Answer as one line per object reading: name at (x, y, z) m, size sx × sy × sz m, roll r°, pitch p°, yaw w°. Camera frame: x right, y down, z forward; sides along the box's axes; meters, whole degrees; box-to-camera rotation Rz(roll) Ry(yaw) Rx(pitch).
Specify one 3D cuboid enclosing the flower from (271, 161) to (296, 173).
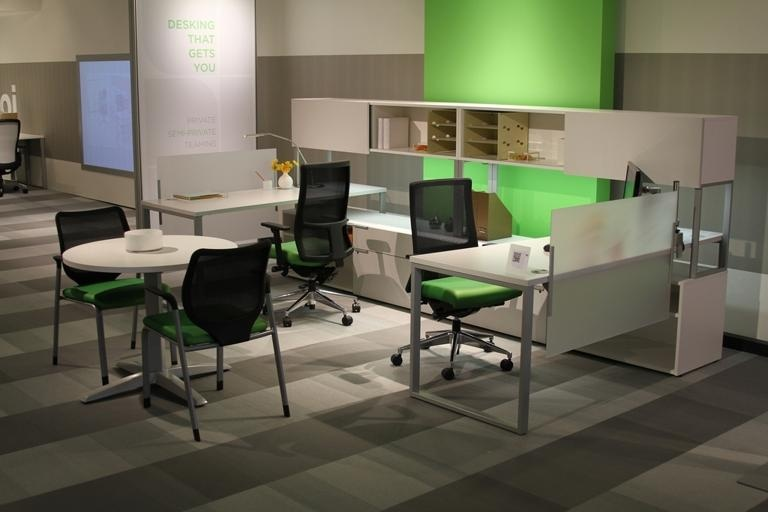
flower at (-1.250, -1.116, 7.100) m, size 0.293 × 0.128 × 0.295 m, roll 1°, pitch 5°, yaw 0°

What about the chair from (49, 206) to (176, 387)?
chair at (-2.355, 0.298, 4.991) m, size 1.086 × 1.322 × 1.024 m, roll 3°, pitch 11°, yaw 2°

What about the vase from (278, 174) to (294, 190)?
vase at (-1.194, -0.923, 7.094) m, size 0.198 × 0.252 × 0.191 m, roll -1°, pitch 5°, yaw 11°

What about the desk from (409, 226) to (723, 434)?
desk at (1.520, 0.607, 4.958) m, size 2.490 × 1.070 × 1.333 m, roll -2°, pitch 6°, yaw -34°
